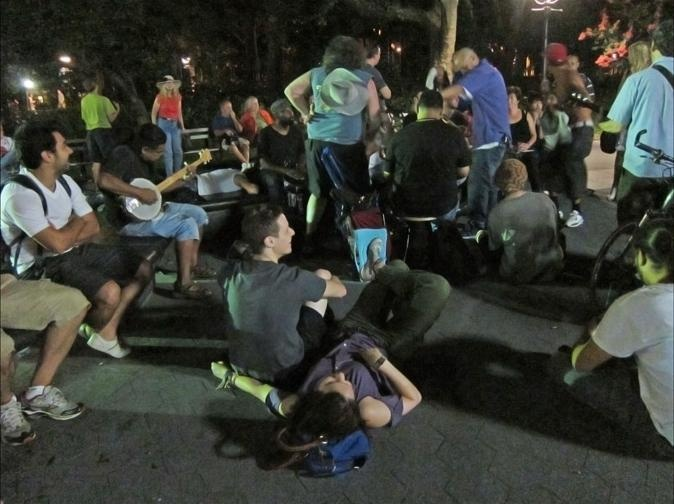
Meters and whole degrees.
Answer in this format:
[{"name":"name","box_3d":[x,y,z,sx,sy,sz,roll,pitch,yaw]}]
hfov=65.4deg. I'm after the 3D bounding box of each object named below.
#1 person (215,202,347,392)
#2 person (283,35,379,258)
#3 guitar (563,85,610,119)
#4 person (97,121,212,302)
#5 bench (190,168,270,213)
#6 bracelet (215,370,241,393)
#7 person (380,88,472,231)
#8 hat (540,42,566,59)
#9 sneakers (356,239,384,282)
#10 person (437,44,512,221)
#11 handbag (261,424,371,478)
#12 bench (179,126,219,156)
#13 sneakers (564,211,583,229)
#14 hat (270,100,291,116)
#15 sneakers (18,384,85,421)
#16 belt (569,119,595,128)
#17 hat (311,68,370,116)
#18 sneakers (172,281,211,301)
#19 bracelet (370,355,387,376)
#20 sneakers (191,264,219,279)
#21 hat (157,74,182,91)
[{"name":"person","box_3d":[-0.282,0.230,2.680,0.506,1.017,0.630,26,50,20]},{"name":"person","box_3d":[-0.004,-0.775,3.826,0.741,1.461,0.545,4,22,4]},{"name":"guitar","box_3d":[1.793,-1.097,3.828,0.202,0.054,0.190,30,7,-32]},{"name":"person","box_3d":[-1.207,-0.481,4.096,1.134,1.620,0.744,-2,17,-23]},{"name":"bench","box_3d":[-0.878,-0.489,4.119,0.437,0.123,0.319,-7,44,-22]},{"name":"bracelet","box_3d":[-0.522,0.632,2.544,0.099,0.134,0.067,7,-4,21]},{"name":"person","box_3d":[0.594,-0.621,3.482,0.559,0.888,0.201,3,30,11]},{"name":"hat","box_3d":[1.376,-1.275,3.363,0.108,0.122,0.105,-29,20,-38]},{"name":"sneakers","box_3d":[0.207,0.066,3.528,0.115,0.324,0.141,16,24,-8]},{"name":"person","box_3d":[1.061,-0.855,4.075,0.596,1.382,0.591,-9,13,-32]},{"name":"handbag","box_3d":[-0.070,0.851,2.201,0.348,0.141,0.257,1,-5,3]},{"name":"bench","box_3d":[-1.367,-1.087,5.225,0.502,0.302,0.218,-6,64,-20]},{"name":"sneakers","box_3d":[1.959,-0.277,4.366,0.115,0.068,0.168,-8,25,40]},{"name":"hat","box_3d":[-0.426,-1.098,3.958,0.136,0.123,0.102,-13,27,1]},{"name":"sneakers","box_3d":[-1.358,0.725,2.598,0.328,0.157,0.123,18,13,-23]},{"name":"belt","box_3d":[1.878,-0.992,4.009,0.151,0.096,0.094,9,31,21]},{"name":"hat","box_3d":[0.045,-1.072,3.523,0.270,0.301,0.114,5,17,10]},{"name":"sneakers","box_3d":[-0.981,0.262,3.592,0.267,0.119,0.102,2,8,-5]},{"name":"bracelet","box_3d":[0.161,0.490,2.278,0.080,0.032,0.060,-39,39,2]},{"name":"sneakers","box_3d":[-0.955,0.138,3.797,0.180,0.072,0.075,-2,10,-11]},{"name":"hat","box_3d":[-1.421,-1.442,4.443,0.205,0.148,0.158,-15,31,-21]}]
